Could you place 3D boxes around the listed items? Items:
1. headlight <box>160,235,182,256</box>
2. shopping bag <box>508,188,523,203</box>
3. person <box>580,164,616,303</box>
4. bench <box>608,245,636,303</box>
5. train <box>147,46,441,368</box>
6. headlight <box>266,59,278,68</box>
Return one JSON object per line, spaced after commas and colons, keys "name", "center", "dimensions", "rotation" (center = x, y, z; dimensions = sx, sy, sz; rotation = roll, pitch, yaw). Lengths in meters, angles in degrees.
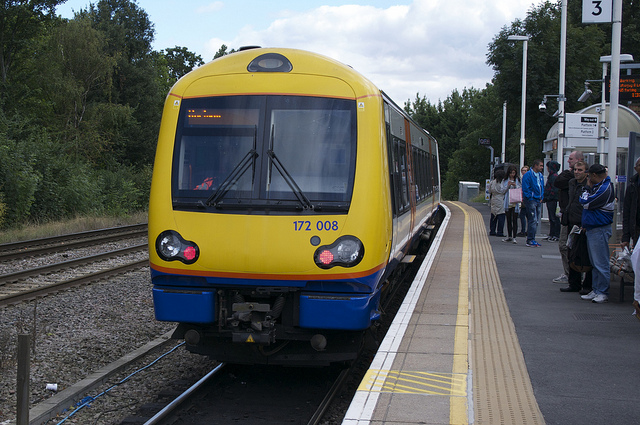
{"name": "headlight", "center": [-1.884, 0.411, 6.654], "dimensions": [0.285, 0.252, 0.056], "rotation": [5, 6, 23]}
{"name": "shopping bag", "center": [6.399, -0.580, 17.282], "dimensions": [0.432, 0.480, 0.297], "rotation": [4, 6, 15]}
{"name": "person", "center": [4.942, 0.386, 9.390], "dimensions": [0.678, 2.491, 0.488], "rotation": [-2, 7, -39]}
{"name": "bench", "center": [5.524, 1.126, 9.625], "dimensions": [0.334, 0.458, 1.049], "rotation": [1, 4, 15]}
{"name": "train", "center": [0.969, -0.540, 13.110], "dimensions": [3.051, 4.464, 14.204], "rotation": [2, 5, 15]}
{"name": "headlight", "center": [-0.648, -1.989, 6.957], "dimensions": [0.119, 0.126, 0.037], "rotation": [13, -1, 1]}
